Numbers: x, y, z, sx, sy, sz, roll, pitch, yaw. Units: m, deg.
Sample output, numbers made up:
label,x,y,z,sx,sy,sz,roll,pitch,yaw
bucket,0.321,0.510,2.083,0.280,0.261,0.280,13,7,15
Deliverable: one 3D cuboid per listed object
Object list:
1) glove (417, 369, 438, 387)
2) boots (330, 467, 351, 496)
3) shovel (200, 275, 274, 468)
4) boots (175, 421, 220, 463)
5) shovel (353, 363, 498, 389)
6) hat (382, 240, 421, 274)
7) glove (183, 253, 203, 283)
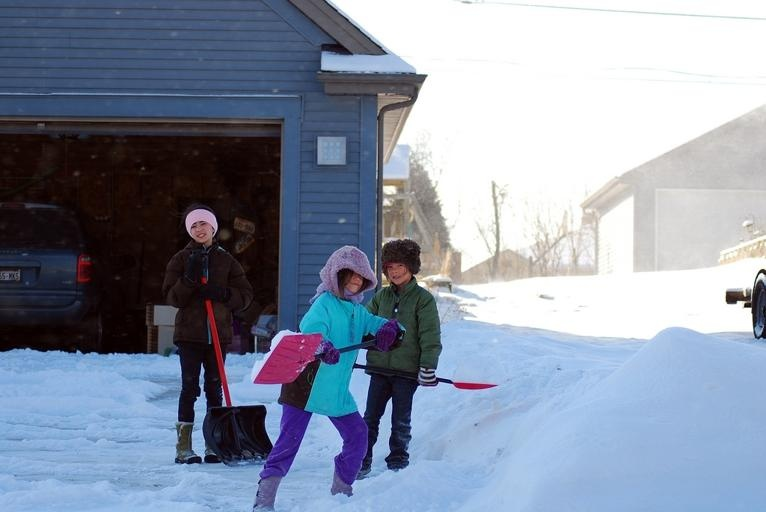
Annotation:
label,x,y,z,sx,sy,sz,roll,pitch,yaw
glove,0.517,1.434,11.638,0.227,0.258,0.177,0,5,-4
boots,-0.476,2.626,11.436,0.209,0.401,0.293,-3,-4,5
shovel,-1.877,1.523,11.515,0.628,1.958,0.600,-6,28,6
boots,-2.251,2.277,12.033,0.526,0.490,0.305,2,-2,-12
shovel,0.566,1.462,12.010,1.926,0.101,0.248,10,-44,-9
hat,0.221,-0.018,11.760,0.371,0.404,0.412,2,-8,-7
glove,-2.300,0.149,11.985,0.229,0.342,0.135,9,2,-30
